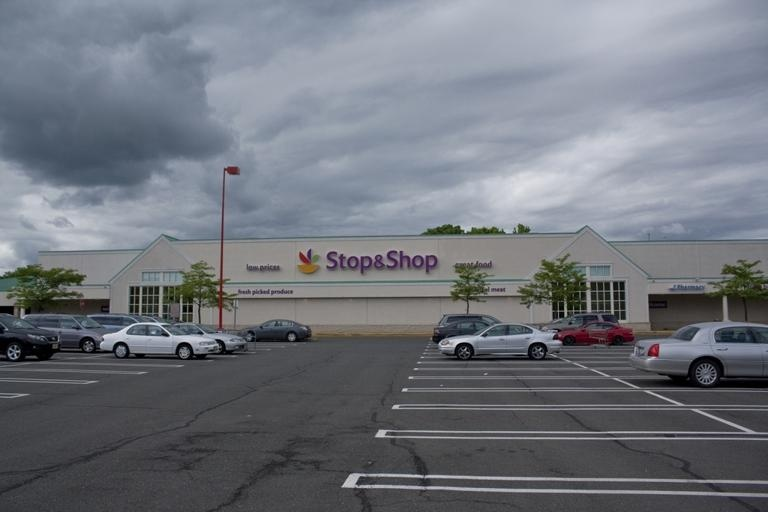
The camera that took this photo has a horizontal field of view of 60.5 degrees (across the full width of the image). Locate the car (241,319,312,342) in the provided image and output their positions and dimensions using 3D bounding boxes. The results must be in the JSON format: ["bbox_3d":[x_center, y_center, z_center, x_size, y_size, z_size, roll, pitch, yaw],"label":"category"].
[{"bbox_3d":[-6.549,4.714,41.331,3.347,0.961,1.602,2,-7,1],"label":"car"}]
